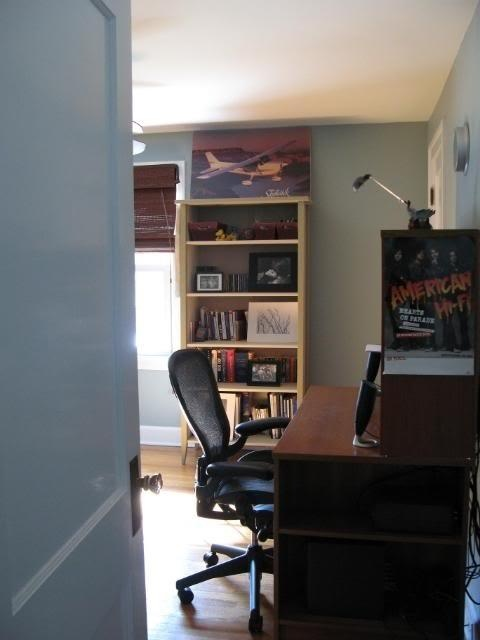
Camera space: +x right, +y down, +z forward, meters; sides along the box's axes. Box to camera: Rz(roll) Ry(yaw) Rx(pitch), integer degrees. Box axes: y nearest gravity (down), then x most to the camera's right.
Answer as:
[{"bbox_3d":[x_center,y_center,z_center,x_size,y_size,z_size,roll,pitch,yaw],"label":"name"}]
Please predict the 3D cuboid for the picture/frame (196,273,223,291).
[{"bbox_3d":[-0.222,-0.276,4.188,0.121,0.118,0.011,1,3,8],"label":"picture/frame"}]

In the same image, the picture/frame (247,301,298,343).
[{"bbox_3d":[0.254,0.030,4.202,0.273,0.259,0.012,-1,-11,13],"label":"picture/frame"}]

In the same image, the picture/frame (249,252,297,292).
[{"bbox_3d":[0.252,-0.338,4.107,0.260,0.253,0.030,0,2,13],"label":"picture/frame"}]

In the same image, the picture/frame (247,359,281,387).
[{"bbox_3d":[0.177,0.394,4.085,0.168,0.164,0.026,0,0,7],"label":"picture/frame"}]
